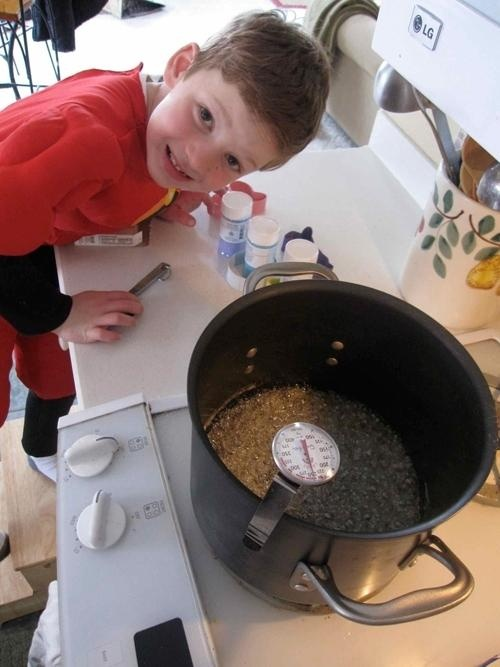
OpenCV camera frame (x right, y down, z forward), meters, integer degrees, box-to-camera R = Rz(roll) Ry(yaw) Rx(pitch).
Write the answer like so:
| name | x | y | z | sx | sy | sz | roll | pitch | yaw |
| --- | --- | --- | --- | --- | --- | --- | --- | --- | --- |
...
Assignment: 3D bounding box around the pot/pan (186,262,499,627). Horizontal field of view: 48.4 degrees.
| name | x | y | z | sx | sy | sz | roll | pitch | yaw |
| --- | --- | --- | --- | --- | --- | --- | --- | --- | --- |
| pot/pan | 0.077 | 0.121 | 0.545 | 0.279 | 0.256 | 0.294 | 20 | 46 | 14 |
